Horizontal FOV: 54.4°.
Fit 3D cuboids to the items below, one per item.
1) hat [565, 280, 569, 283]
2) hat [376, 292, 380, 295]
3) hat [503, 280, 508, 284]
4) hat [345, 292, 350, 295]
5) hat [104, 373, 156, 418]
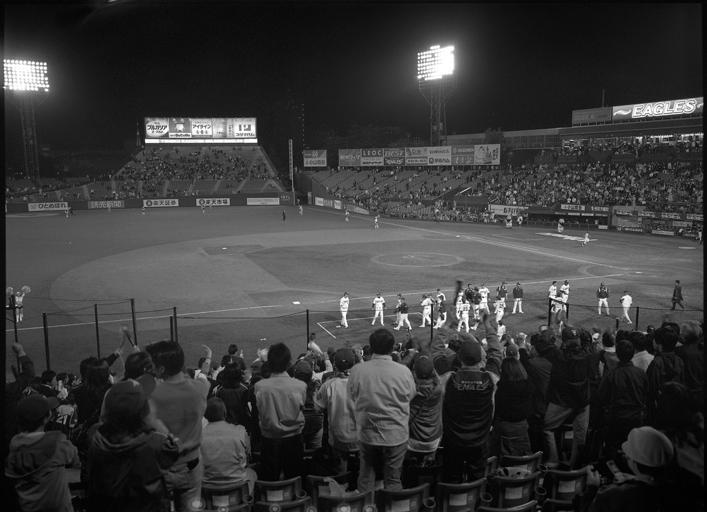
[{"bbox_3d":[9.717,1.152,31.222,0.190,0.086,0.266,1,4,44],"label":"hat"},{"bbox_3d":[1.058,1.553,28.130,0.112,0.142,0.152,5,15,2],"label":"hat"},{"bbox_3d":[7.178,1.239,32.371,0.249,0.076,0.246,-2,9,-1],"label":"hat"},{"bbox_3d":[-0.214,1.646,29.855,0.229,0.160,0.312,1,0,0],"label":"hat"},{"bbox_3d":[-3.368,2.007,10.682,0.553,0.246,0.846,-8,17,6],"label":"hat"}]
